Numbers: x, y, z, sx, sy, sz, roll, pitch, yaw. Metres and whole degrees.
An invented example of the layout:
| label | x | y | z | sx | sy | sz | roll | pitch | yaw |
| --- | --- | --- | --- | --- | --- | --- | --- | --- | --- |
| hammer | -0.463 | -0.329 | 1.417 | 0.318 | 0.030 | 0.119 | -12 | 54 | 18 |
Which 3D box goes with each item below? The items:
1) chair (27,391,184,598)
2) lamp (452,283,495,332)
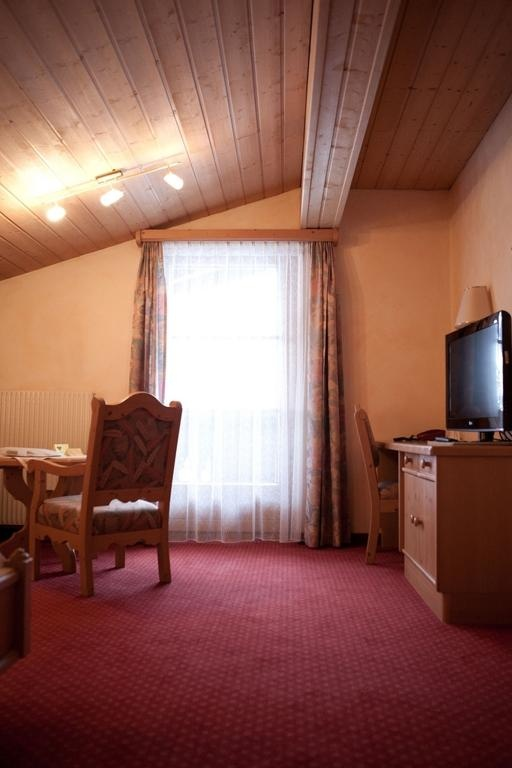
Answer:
| label | x | y | z | sx | sy | sz | roll | pitch | yaw |
| --- | --- | --- | --- | --- | --- | --- | --- | --- | --- |
| chair | -0.753 | 0.516 | 2.518 | 0.595 | 0.988 | 0.663 | 3 | 1 | -32 |
| lamp | 1.326 | -0.480 | 3.057 | 0.215 | 0.298 | 0.250 | 5 | -19 | -5 |
